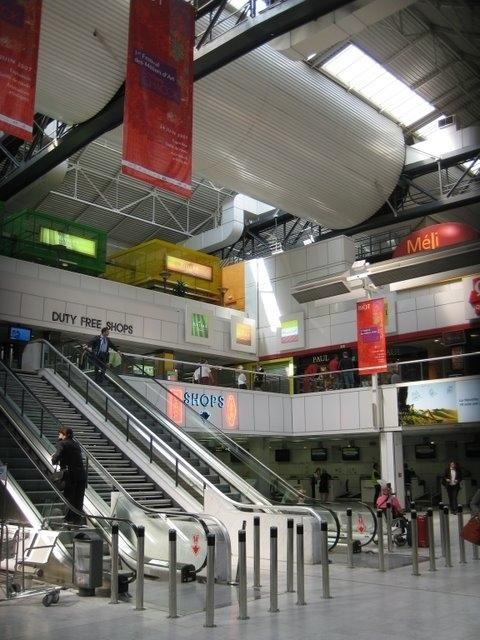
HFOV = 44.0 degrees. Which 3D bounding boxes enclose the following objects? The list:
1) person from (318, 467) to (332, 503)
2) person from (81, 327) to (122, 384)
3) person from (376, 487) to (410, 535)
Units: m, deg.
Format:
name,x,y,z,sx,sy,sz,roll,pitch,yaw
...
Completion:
name,x,y,z,sx,sy,sz,roll,pitch,yaw
person,3.586,6.901,25.023,0.618,1.220,1.886,-3,-10,8
person,-3.585,0.890,15.211,0.877,1.348,0.443,20,-50,-31
person,2.793,3.464,10.913,0.500,0.894,0.864,-9,-12,33
